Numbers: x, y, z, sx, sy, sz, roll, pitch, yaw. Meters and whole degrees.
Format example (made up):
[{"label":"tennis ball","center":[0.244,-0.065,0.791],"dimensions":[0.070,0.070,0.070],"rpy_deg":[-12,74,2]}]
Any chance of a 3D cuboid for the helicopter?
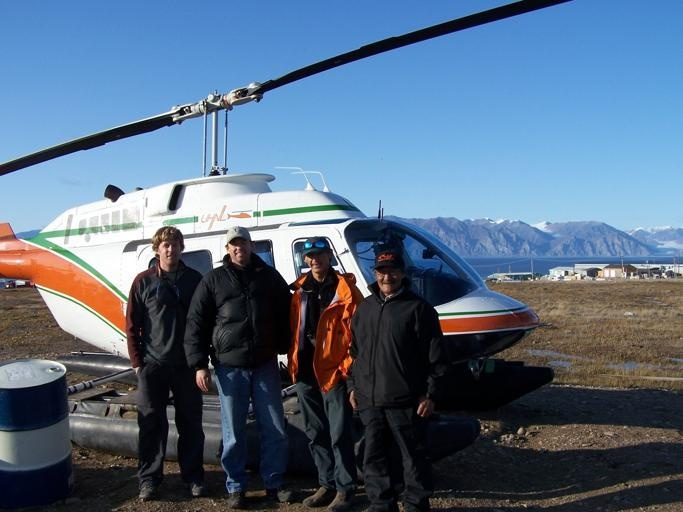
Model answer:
[{"label":"helicopter","center":[-1.514,-0.150,8.312],"dimensions":[7.071,2.523,5.709],"rpy_deg":[-2,-1,24]}]
